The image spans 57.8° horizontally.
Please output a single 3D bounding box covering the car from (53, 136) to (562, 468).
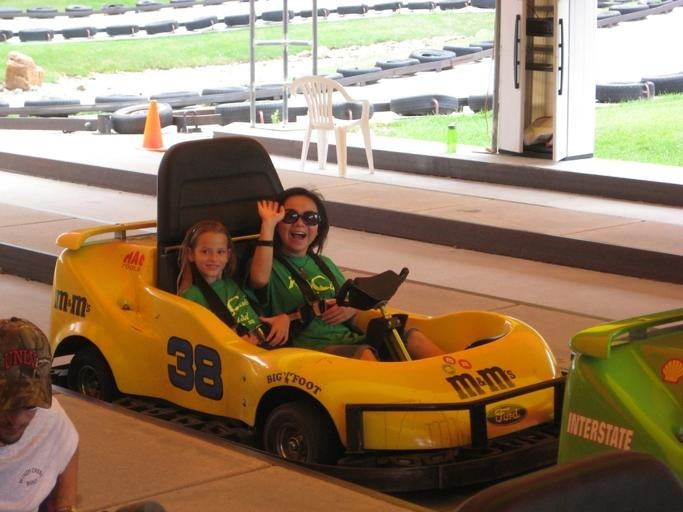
[{"bbox_3d":[-0.235,0.070,2.800,2.203,1.035,1.231,5,9,37],"label":"car"}]

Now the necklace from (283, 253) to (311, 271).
[{"bbox_3d":[-0.198,0.027,2.802,0.099,0.049,0.073,18,27,11],"label":"necklace"}]

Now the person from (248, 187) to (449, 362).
[{"bbox_3d":[0.110,0.095,2.798,0.519,0.751,1.105,-5,5,-41],"label":"person"}]

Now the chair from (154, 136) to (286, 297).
[{"bbox_3d":[-0.685,-0.191,3.111,0.658,0.825,0.513,-12,26,-30],"label":"chair"}]
